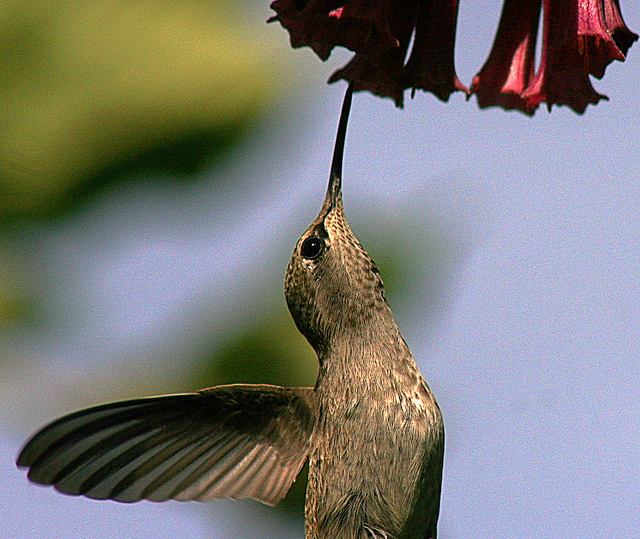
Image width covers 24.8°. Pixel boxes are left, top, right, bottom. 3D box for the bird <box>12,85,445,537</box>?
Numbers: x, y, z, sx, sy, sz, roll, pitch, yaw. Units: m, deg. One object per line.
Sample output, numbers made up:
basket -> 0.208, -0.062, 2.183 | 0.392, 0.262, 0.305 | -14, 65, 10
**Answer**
bird -> -0.118, 0.086, 2.838 | 0.735, 0.811, 0.308 | 2, -18, 14
